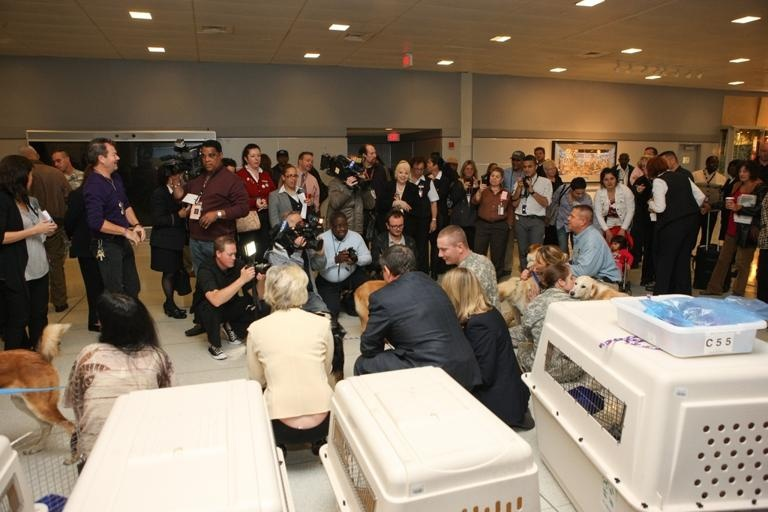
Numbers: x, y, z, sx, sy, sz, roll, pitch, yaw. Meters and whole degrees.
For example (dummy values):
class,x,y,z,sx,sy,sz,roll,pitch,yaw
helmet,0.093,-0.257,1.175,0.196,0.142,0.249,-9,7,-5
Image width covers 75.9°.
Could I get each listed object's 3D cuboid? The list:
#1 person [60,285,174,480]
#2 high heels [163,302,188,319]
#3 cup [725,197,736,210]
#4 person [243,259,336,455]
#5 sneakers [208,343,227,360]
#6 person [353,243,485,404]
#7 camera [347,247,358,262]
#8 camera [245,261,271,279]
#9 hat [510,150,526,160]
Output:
class,x,y,z,sx,sy,sz,roll,pitch,yaw
person,-1.605,0.747,2.933,0.343,0.722,1.286,13,33,-26
high heels,-2.552,0.673,6.012,0.387,0.166,0.135,-3,1,45
cup,4.318,-0.658,6.145,0.141,0.138,0.137,-2,10,0
person,-0.600,0.762,3.284,0.554,1.301,0.513,-9,16,-17
sneakers,-1.621,0.942,4.818,0.092,0.096,0.241,-3,6,-37
person,0.454,0.331,3.734,0.798,1.329,0.935,-17,18,-29
camera,-0.337,-0.017,5.397,0.091,0.145,0.142,-8,21,-9
camera,-1.139,0.130,4.485,0.191,0.117,0.180,-2,-5,31
hat,2.113,-1.578,7.750,0.194,0.141,0.279,8,5,31
